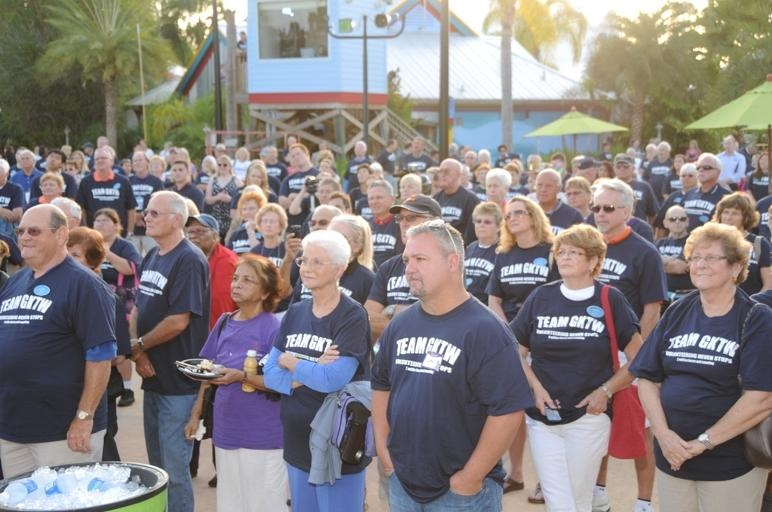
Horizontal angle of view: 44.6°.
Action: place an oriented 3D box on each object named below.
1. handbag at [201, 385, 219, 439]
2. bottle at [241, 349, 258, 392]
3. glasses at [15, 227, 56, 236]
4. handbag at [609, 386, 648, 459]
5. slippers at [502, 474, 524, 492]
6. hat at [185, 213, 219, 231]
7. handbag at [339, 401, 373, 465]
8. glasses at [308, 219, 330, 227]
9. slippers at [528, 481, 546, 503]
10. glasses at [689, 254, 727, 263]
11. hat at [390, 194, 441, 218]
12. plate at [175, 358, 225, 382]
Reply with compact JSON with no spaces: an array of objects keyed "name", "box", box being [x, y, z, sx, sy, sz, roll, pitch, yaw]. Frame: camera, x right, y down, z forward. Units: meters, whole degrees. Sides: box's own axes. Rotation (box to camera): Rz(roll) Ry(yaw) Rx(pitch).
[{"name":"handbag","box":[-2.042,1.778,10.966,0.177,0.497,0.349,6,-16,-7]},{"name":"bottle","box":[-1.511,1.293,10.527,0.178,0.485,0.191,2,4,0]},{"name":"glasses","box":[-3.884,-0.269,10.428,0.468,0.093,0.158,3,4,20]},{"name":"handbag","box":[2.767,1.905,10.833,0.439,0.830,0.250,2,4,0]},{"name":"slippers","box":[1.613,2.866,11.853,0.401,0.212,0.119,-1,5,-42]},{"name":"hat","box":[-2.382,-0.425,12.213,0.402,0.205,0.347,1,4,-14]},{"name":"handbag","box":[-0.332,1.826,9.809,0.319,0.613,0.159,2,4,-2]},{"name":"glasses","box":[-0.857,-0.417,11.993,0.279,0.101,0.115,5,5,39]},{"name":"slippers","box":[1.838,2.921,11.642,0.190,0.220,0.425,2,4,5]},{"name":"glasses","box":[3.372,0.035,9.920,0.353,0.085,0.121,4,4,24]},{"name":"hat","box":[0.390,-0.580,11.023,0.469,0.233,0.296,20,-15,-33]},{"name":"plate","box":[-2.090,1.262,10.479,0.358,0.073,0.312,17,22,-1]}]
